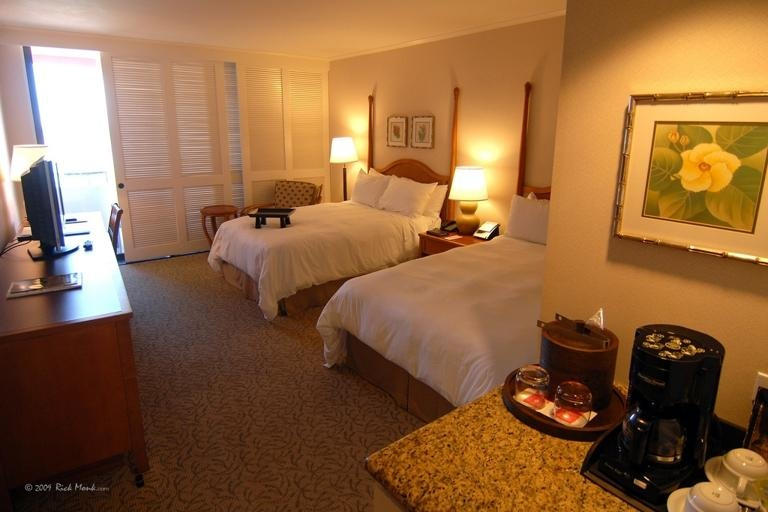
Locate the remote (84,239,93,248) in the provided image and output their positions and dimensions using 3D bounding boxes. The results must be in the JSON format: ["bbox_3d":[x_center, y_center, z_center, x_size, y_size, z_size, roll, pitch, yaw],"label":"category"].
[{"bbox_3d":[-2.351,-0.101,4.107,0.068,0.028,0.094,2,25,-21],"label":"remote"}]

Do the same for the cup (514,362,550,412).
[{"bbox_3d":[0.623,0.546,2.175,0.154,0.143,0.152,-1,9,0],"label":"cup"}]

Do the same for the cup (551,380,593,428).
[{"bbox_3d":[0.749,0.584,2.134,0.163,0.152,0.160,-2,13,0],"label":"cup"}]

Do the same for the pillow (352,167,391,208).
[{"bbox_3d":[-0.180,-0.844,6.551,0.494,0.479,0.155,23,1,44],"label":"pillow"}]

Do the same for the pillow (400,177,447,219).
[{"bbox_3d":[0.463,-0.660,5.989,0.478,0.450,0.140,8,-10,4],"label":"pillow"}]

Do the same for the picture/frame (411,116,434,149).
[{"bbox_3d":[0.468,-1.497,6.181,0.063,0.375,0.365,-15,22,-40],"label":"picture/frame"}]

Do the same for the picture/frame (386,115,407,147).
[{"bbox_3d":[0.164,-1.597,6.526,0.046,0.400,0.412,-7,11,-34],"label":"picture/frame"}]

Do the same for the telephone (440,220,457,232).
[{"bbox_3d":[0.709,-0.348,5.649,0.166,0.055,0.099,-34,23,-18],"label":"telephone"}]

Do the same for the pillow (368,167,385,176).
[{"bbox_3d":[-0.125,-1.123,6.887,0.146,0.035,0.154,18,22,25],"label":"pillow"}]
